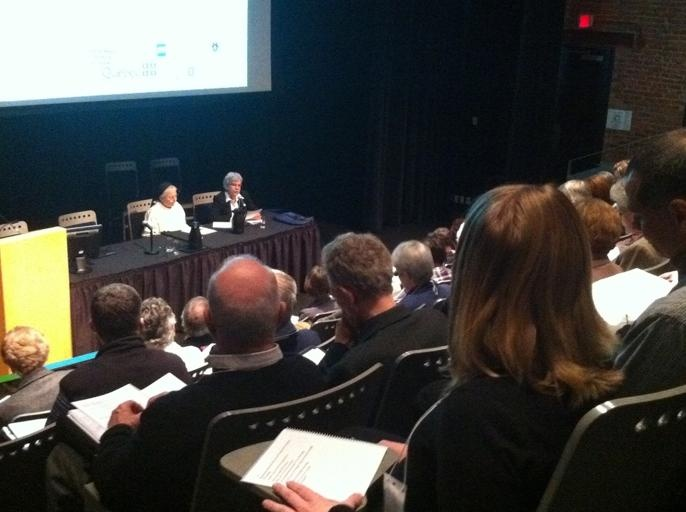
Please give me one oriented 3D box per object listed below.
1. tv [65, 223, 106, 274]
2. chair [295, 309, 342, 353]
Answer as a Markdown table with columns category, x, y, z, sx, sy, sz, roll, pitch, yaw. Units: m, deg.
| category | x | y | z | sx | sy | sz | roll | pitch | yaw |
| --- | --- | --- | --- | --- | --- | --- | --- | --- | --- |
| tv | -2.365 | -0.060 | 4.750 | 0.180 | 0.408 | 0.390 | 17 | 19 | 42 |
| chair | -0.173 | 0.462 | 3.240 | 0.253 | 0.291 | 0.238 | 9 | 26 | 19 |
